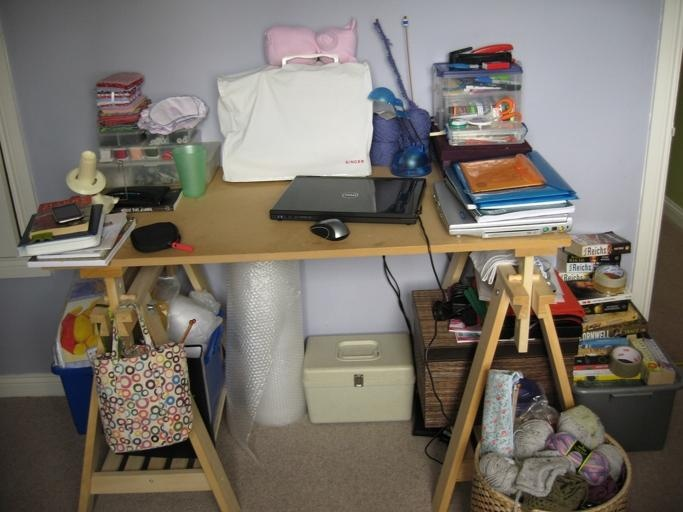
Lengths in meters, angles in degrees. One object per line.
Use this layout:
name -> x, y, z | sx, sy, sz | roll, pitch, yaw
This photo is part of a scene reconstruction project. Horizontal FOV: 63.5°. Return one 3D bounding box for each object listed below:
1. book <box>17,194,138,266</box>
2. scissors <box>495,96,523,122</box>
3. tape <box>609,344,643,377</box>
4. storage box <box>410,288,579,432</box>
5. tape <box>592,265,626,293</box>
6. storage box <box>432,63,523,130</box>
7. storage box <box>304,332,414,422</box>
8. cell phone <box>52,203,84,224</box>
book -> -0.805, -0.071, 1.694 | 0.253, 0.062, 0.260 | -2, 42, -3
scissors -> 0.634, -0.556, 2.098 | 0.079, 0.089, 0.066 | -21, 24, -38
tape -> 1.112, 0.410, 2.157 | 0.098, 0.078, 0.109 | -5, 25, 11
storage box -> 0.508, 0.415, 2.281 | 0.508, 0.321, 0.522 | -1, 26, -1
tape -> 1.121, 0.088, 2.325 | 0.114, 0.078, 0.117 | -7, 25, -7
storage box -> 0.531, -0.635, 2.187 | 0.413, 0.306, 0.243 | 1, 31, 3
storage box -> 0.075, 0.498, 2.409 | 0.509, 0.320, 0.331 | 0, 35, 0
cell phone -> -0.852, -0.134, 1.709 | 0.067, 0.019, 0.068 | -14, 41, -24
